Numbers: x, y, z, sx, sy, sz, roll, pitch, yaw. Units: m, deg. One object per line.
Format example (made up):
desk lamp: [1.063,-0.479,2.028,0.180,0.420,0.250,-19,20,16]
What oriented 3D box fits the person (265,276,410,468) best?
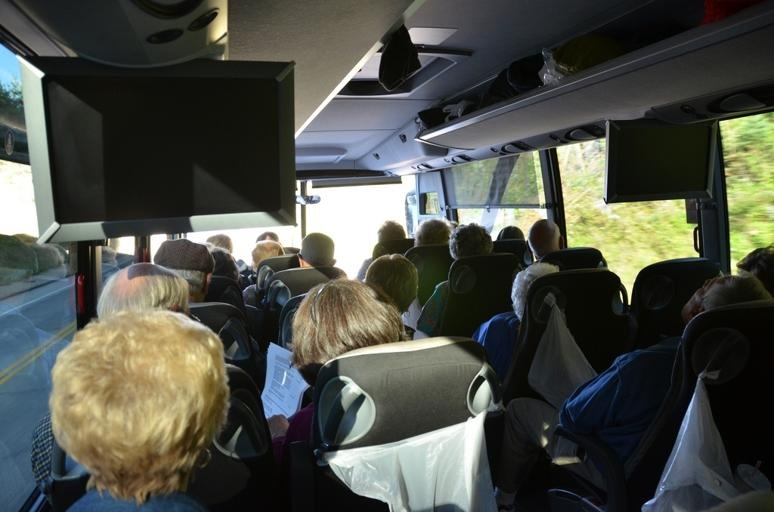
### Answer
person: [-0.157,0.446,2.466,0.609,0.858,0.694,-8,3,-10]

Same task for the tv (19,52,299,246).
tv: [-0.816,-0.404,1.892,0.822,0.634,0.086,-5,5,-17]
